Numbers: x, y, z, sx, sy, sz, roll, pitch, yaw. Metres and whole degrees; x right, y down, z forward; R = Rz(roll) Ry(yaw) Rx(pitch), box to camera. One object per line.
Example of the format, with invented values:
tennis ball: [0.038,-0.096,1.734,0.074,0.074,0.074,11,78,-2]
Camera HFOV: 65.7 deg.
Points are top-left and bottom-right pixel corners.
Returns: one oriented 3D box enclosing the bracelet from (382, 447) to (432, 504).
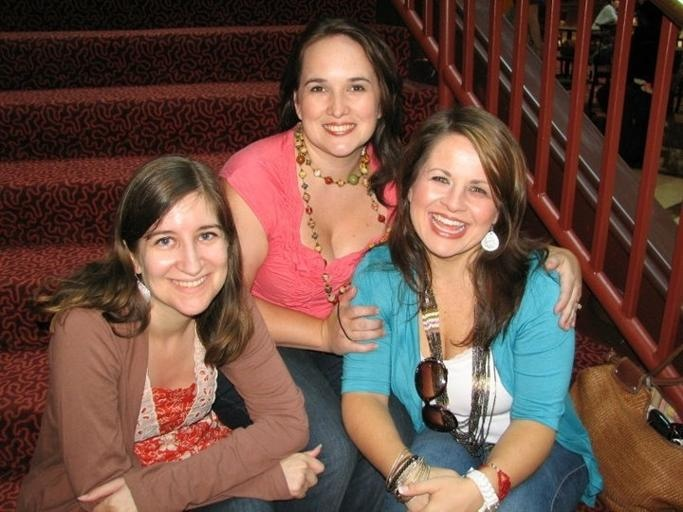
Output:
bracelet: [0.202,0.661,1.595,0.118,0.066,0.138,-27,6,36]
